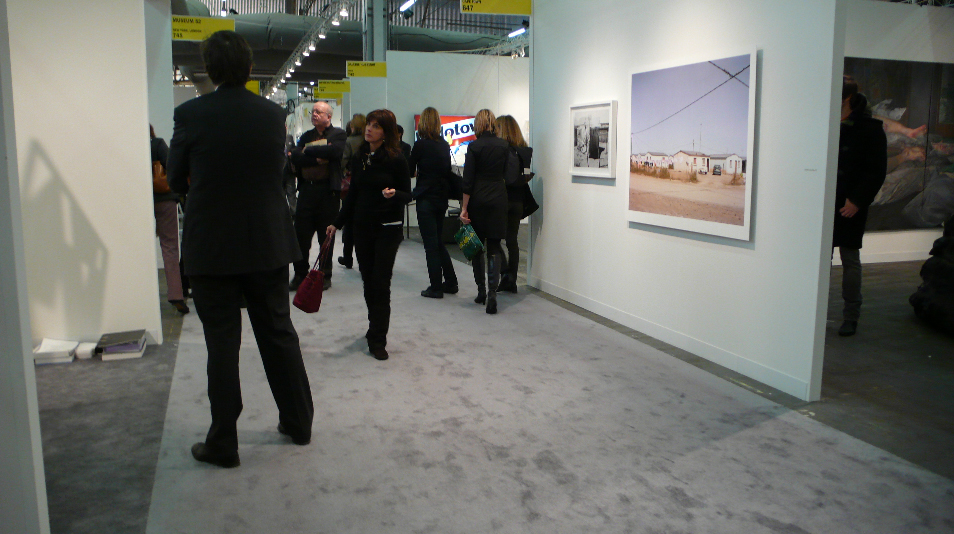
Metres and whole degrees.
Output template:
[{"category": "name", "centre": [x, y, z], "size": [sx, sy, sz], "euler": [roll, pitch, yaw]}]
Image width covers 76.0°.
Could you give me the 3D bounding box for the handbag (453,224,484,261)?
[{"category": "handbag", "centre": [-0.085, -0.300, 7.440], "size": [0.307, 0.468, 0.258], "euler": [-1, 15, -2]}]

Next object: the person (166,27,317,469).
[{"category": "person", "centre": [-1.852, -0.133, 4.663], "size": [1.056, 3.077, 1.001], "euler": [-3, 6, -40]}]

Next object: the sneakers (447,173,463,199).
[{"category": "sneakers", "centre": [-0.276, -1.028, 7.768], "size": [0.313, 0.215, 0.162], "euler": [12, 31, 1]}]

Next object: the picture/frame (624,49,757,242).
[{"category": "picture/frame", "centre": [2.052, -1.198, 6.036], "size": [0.032, 1.716, 1.541], "euler": [-8, 12, -29]}]

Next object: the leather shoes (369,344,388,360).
[{"category": "leather shoes", "centre": [-0.952, 0.829, 5.952], "size": [0.105, 0.193, 0.207], "euler": [3, -13, -17]}]

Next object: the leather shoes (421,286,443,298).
[{"category": "leather shoes", "centre": [-0.562, 0.325, 7.914], "size": [0.285, 0.124, 0.127], "euler": [5, 7, 9]}]

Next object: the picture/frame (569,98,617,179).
[{"category": "picture/frame", "centre": [1.298, -1.438, 6.977], "size": [0.107, 0.859, 0.943], "euler": [8, 15, 41]}]

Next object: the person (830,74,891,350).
[{"category": "person", "centre": [3.886, -0.611, 6.306], "size": [0.472, 2.562, 0.613], "euler": [8, 17, 29]}]

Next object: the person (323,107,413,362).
[{"category": "person", "centre": [-0.986, -0.319, 5.927], "size": [0.715, 2.348, 0.636], "euler": [-2, 15, -7]}]

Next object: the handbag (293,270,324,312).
[{"category": "handbag", "centre": [-1.442, 0.212, 5.324], "size": [0.217, 0.345, 0.237], "euler": [16, 3, -41]}]
